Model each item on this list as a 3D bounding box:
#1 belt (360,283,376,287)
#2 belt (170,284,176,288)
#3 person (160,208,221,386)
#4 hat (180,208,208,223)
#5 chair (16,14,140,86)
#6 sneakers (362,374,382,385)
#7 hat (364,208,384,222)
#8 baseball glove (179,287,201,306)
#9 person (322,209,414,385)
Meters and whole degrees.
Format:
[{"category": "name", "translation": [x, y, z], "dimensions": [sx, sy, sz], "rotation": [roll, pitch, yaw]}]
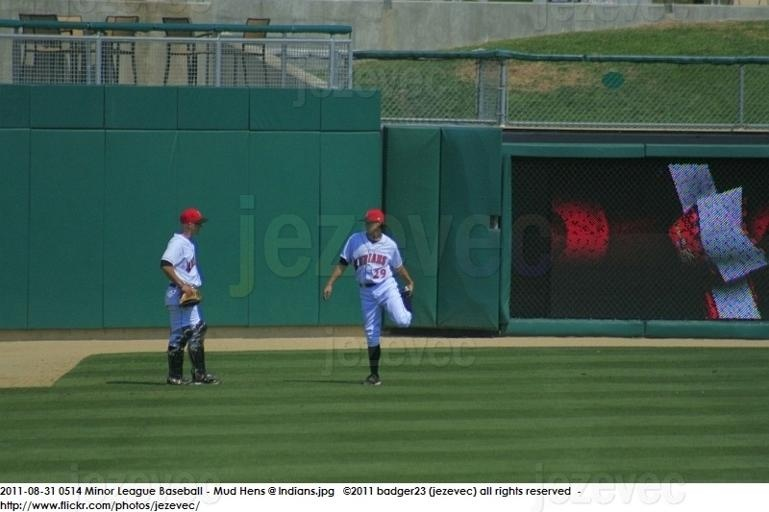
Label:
[{"category": "belt", "translation": [-0.280, 0.527, 25.091], "dimensions": [0.237, 0.083, 0.033], "rotation": [-1, 8, 6]}, {"category": "belt", "translation": [-3.620, 0.527, 24.866], "dimensions": [0.077, 0.032, 0.079], "rotation": [7, 5, -12]}, {"category": "person", "translation": [-3.413, 0.739, 24.965], "dimensions": [0.782, 2.999, 0.515], "rotation": [-3, 8, -9]}, {"category": "hat", "translation": [-3.280, -0.655, 24.973], "dimensions": [0.381, 0.206, 0.287], "rotation": [-7, 15, -12]}, {"category": "chair", "translation": [-5.908, -3.883, 27.918], "dimensions": [2.232, 1.180, 2.796], "rotation": [-3, 9, -8]}, {"category": "sneakers", "translation": [-0.220, 2.159, 25.258], "dimensions": [0.265, 0.132, 0.175], "rotation": [2, 4, 9]}, {"category": "hat", "translation": [-0.188, -0.683, 25.163], "dimensions": [0.274, 0.158, 0.212], "rotation": [4, 9, 15]}, {"category": "baseball glove", "translation": [-3.311, 0.747, 24.783], "dimensions": [0.248, 0.149, 0.339], "rotation": [9, -36, -41]}, {"category": "person", "translation": [-0.164, 0.737, 25.195], "dimensions": [1.246, 2.985, 0.475], "rotation": [-2, 8, -2]}]
